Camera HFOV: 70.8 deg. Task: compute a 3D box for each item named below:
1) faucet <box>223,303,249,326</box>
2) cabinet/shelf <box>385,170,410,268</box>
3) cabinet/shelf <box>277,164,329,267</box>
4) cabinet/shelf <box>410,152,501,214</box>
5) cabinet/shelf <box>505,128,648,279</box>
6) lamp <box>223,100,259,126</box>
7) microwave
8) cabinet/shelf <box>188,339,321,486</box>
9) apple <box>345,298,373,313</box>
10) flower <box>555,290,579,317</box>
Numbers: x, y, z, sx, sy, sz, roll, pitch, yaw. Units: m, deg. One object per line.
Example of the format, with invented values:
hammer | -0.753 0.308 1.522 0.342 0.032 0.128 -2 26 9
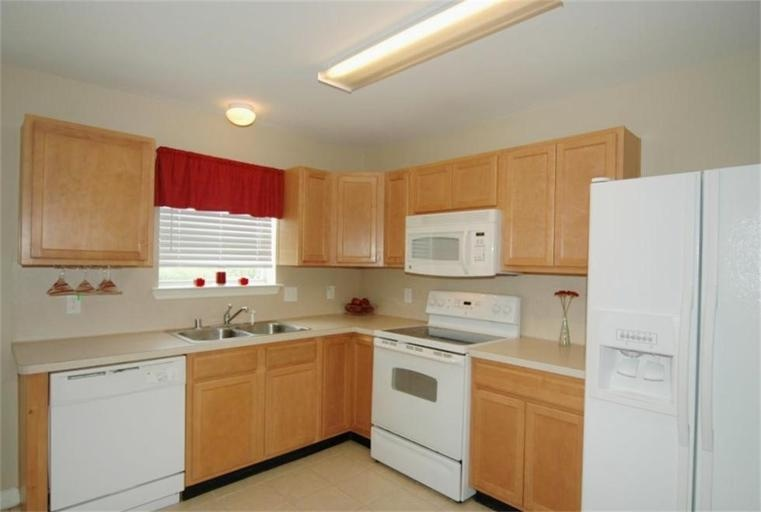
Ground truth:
faucet | -1.261 0.498 4.656 0.157 0.166 0.262 -2 0 18
cabinet/shelf | 0.162 -0.321 4.883 0.094 0.883 0.355 -1 5 -32
cabinet/shelf | -0.703 -0.353 4.892 0.514 0.802 0.242 -2 1 -8
cabinet/shelf | 0.679 -0.579 4.540 0.891 0.426 0.273 -2 -5 43
cabinet/shelf | 1.358 -0.354 3.684 0.414 1.108 1.155 4 -5 -42
lamp | -1.122 -1.123 4.292 0.229 0.132 0.227 0 1 26
microwave | 0.676 -0.078 4.565 0.859 0.527 0.484 1 -2 41
cabinet/shelf | -1.129 1.144 4.397 1.211 0.967 0.633 -3 4 -43
apple | -0.221 0.505 5.415 0.313 0.143 0.231 -2 0 14
flower | 1.416 0.362 4.183 0.195 0.219 0.209 0 1 -11
